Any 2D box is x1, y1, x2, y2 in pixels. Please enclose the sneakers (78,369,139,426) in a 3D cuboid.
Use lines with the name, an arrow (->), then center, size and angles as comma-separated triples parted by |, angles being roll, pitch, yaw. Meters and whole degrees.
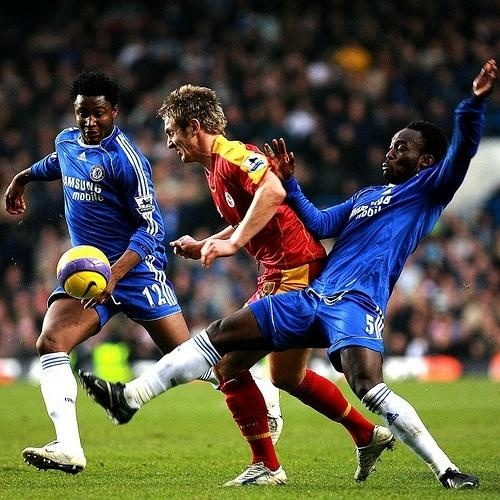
sneakers -> -0.828, 0.851, 4.815 | 0.296, 0.360, 0.112 | -8, 12, -14

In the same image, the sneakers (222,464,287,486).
sneakers -> 0.049, 1.430, 5.348 | 0.439, 0.177, 0.140 | 3, -7, -17

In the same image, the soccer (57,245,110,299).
soccer -> -1.075, 0.146, 5.314 | 0.354, 0.347, 0.339 | 0, 0, -5

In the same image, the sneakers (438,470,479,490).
sneakers -> 1.194, 1.327, 4.842 | 0.091, 0.102, 0.251 | -28, 11, -41
